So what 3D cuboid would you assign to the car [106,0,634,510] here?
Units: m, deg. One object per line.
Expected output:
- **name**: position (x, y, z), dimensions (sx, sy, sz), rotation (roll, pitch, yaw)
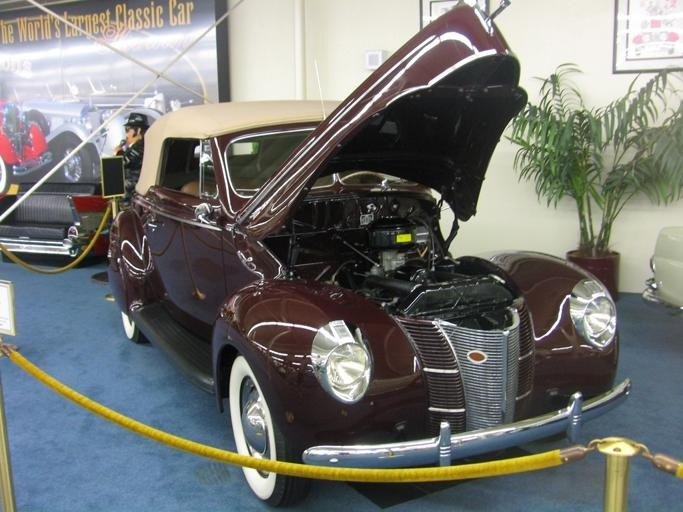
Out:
- **car**: position (-0.217, -0.141, 3.450), dimensions (1.783, 1.987, 3.432), rotation (-7, 14, -28)
